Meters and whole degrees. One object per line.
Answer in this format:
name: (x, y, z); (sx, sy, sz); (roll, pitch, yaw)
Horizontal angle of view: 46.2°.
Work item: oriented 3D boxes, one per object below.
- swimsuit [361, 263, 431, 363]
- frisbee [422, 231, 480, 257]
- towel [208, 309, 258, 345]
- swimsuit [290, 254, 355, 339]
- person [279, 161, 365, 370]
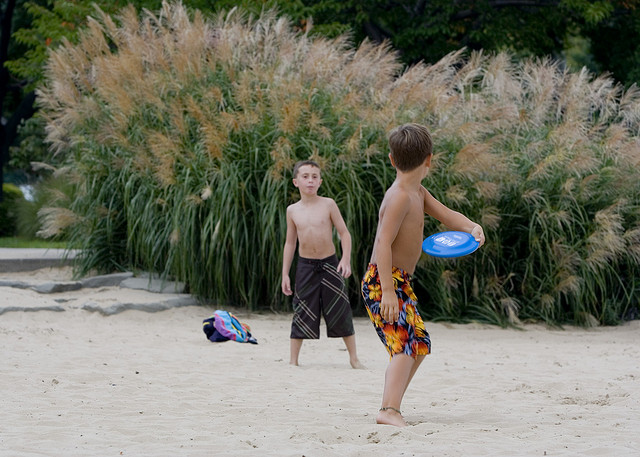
swimsuit: (0.656, 0.700, 6.433); (0.596, 0.799, 0.313); (3, 10, 4)
frisbee: (1.123, 0.136, 6.428); (0.477, 0.211, 0.381); (5, 10, 10)
towel: (-1.060, 1.136, 8.795); (0.515, 0.371, 0.559); (5, 2, -30)
swimsuit: (0.018, 0.737, 8.228); (0.874, 1.187, 0.405); (1, -14, -5)
person: (0.007, 0.339, 8.151); (0.809, 2.112, 0.615); (2, 10, -3)
